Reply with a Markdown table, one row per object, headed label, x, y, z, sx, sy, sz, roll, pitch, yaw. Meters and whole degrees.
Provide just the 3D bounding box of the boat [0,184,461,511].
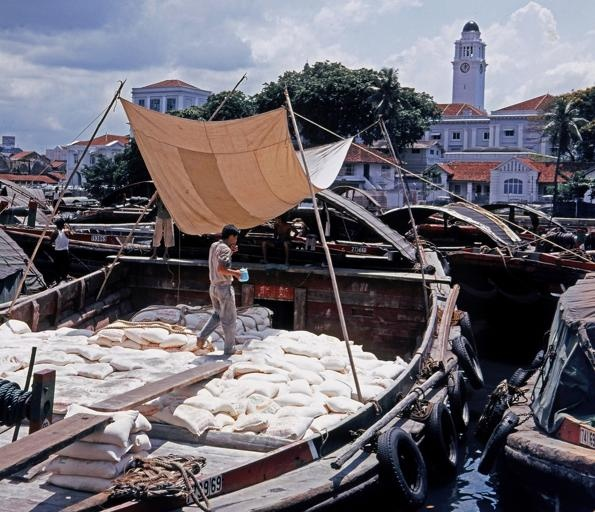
| label | x | y | z | sx | sy | sz | roll | pitch | yaw |
| --- | --- | --- | --- | --- | --- | --- | --- | --- | --- |
| boat | -0.829 | 1.140 | 8.850 | 5.176 | 1.299 | 6.954 | 1 | 1 | 12 |
